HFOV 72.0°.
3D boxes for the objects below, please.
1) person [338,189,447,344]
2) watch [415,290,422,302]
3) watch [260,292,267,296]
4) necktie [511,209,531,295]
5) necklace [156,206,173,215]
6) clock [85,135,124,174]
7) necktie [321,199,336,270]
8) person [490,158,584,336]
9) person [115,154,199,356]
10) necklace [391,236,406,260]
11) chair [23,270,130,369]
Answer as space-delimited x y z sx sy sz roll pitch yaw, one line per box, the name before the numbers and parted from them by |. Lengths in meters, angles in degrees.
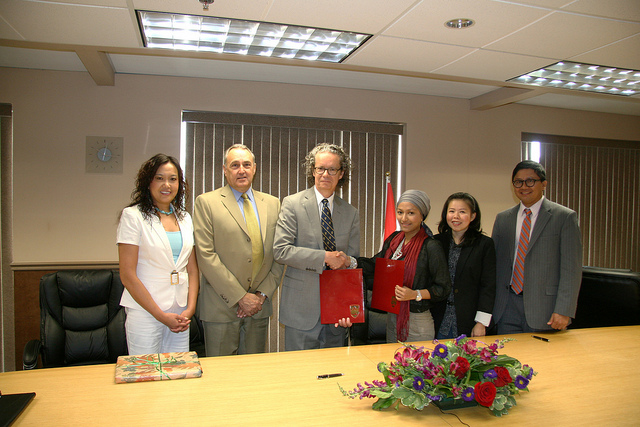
person | 0.765 0.489 3.976 0.563 1.328 0.675 -8 16 -35
watch | 0.854 0.709 3.822 0.047 0.077 0.081 4 -18 4
watch | -0.518 0.730 3.989 0.034 0.035 0.035 1 -7 3
necktie | 1.902 0.360 4.164 0.100 0.756 0.276 7 14 26
necklace | -1.360 -0.011 3.881 0.043 0.052 0.138 11 16 39
clock | -2.738 -0.735 5.546 0.454 0.490 0.040 0 1 -13
necktie | 0.074 0.107 3.941 0.129 0.424 0.185 0 13 -5
person | 1.991 0.367 4.101 0.789 1.631 0.557 8 15 30
person | -1.381 0.338 3.776 0.642 1.592 0.653 -3 13 -16
necklace | 0.725 0.322 4.064 0.103 0.173 0.145 3 13 11
chair | -2.409 1.169 4.658 0.949 1.376 1.117 0 -5 -17
